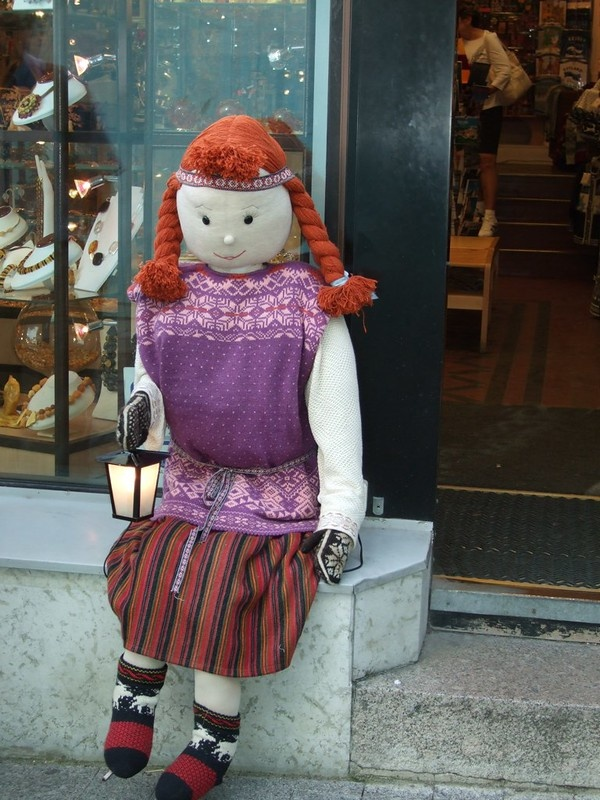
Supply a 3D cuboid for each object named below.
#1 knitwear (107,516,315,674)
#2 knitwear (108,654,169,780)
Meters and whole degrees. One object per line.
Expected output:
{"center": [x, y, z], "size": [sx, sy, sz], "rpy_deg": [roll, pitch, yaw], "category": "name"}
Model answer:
{"center": [-0.190, 0.362, 1.430], "size": [0.434, 0.220, 0.262], "rpy_deg": [6, 20, 14], "category": "knitwear"}
{"center": [-0.307, 0.584, 1.359], "size": [0.088, 0.231, 0.106], "rpy_deg": [6, -26, 4], "category": "knitwear"}
